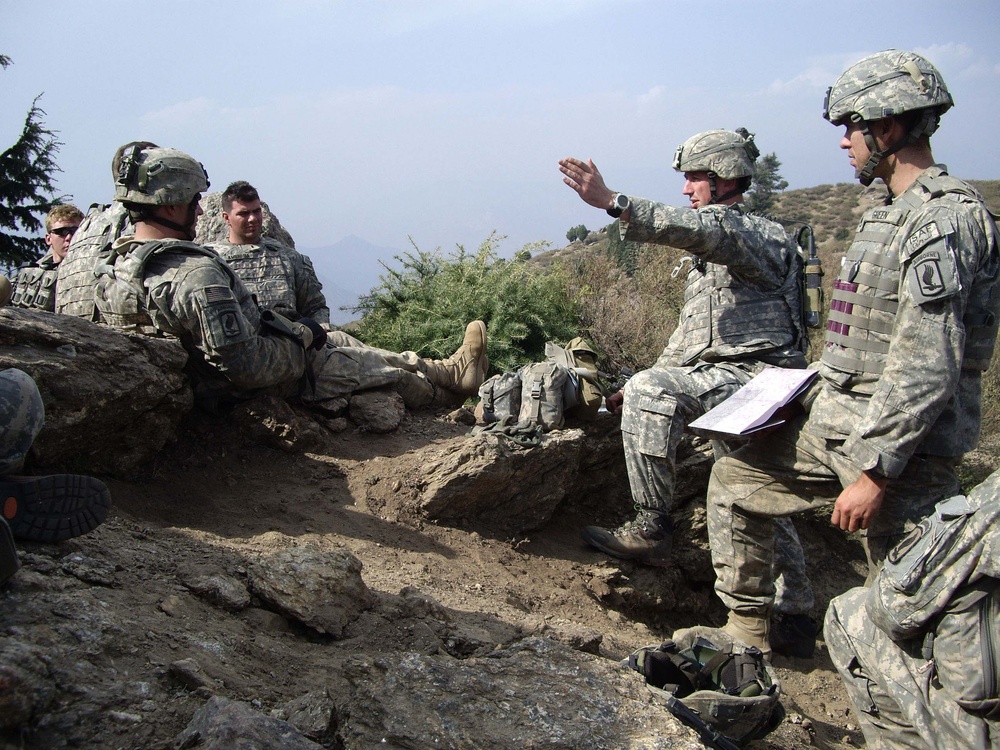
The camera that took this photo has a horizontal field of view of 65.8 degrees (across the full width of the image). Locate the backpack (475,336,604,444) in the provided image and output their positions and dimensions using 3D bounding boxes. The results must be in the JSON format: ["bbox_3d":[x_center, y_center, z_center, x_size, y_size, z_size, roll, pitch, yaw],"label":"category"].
[{"bbox_3d":[0.326,0.104,6.261,0.942,0.451,0.724,-6,12,5],"label":"backpack"}]

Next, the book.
[{"bbox_3d":[1.548,0.142,4.611,0.502,0.188,0.534,0,34,49],"label":"book"}]
